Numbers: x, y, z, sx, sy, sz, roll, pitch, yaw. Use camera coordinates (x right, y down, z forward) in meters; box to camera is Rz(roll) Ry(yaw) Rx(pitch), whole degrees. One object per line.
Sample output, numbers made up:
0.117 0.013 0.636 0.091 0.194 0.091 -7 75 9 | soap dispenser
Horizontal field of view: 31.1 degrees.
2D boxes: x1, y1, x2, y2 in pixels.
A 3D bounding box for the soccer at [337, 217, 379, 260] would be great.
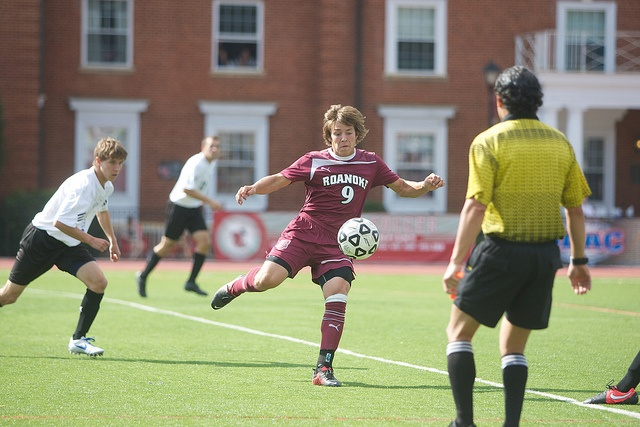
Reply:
0.601 0.491 20.234 0.848 0.677 0.702 2 -41 -14 | soccer
